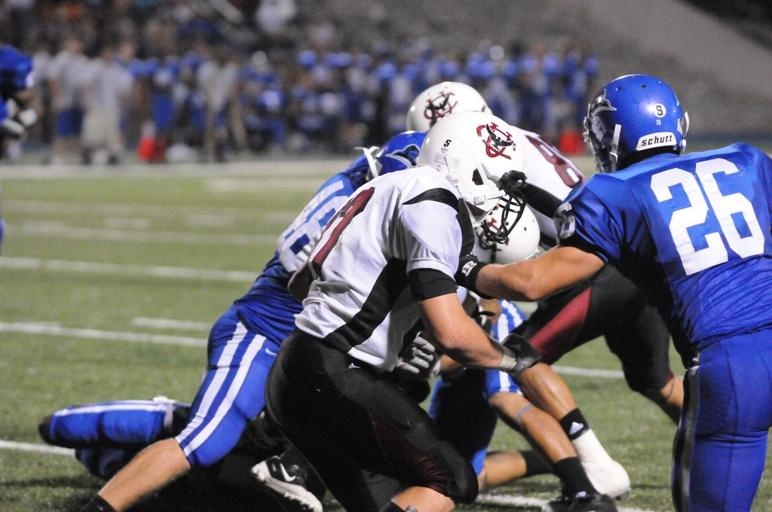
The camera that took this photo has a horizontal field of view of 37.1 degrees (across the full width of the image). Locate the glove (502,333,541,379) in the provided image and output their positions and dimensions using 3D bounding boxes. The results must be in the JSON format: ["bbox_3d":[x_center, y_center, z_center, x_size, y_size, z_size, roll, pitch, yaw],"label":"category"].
[{"bbox_3d":[0.741,0.529,6.310,0.211,0.080,0.215,34,23,11],"label":"glove"}]
